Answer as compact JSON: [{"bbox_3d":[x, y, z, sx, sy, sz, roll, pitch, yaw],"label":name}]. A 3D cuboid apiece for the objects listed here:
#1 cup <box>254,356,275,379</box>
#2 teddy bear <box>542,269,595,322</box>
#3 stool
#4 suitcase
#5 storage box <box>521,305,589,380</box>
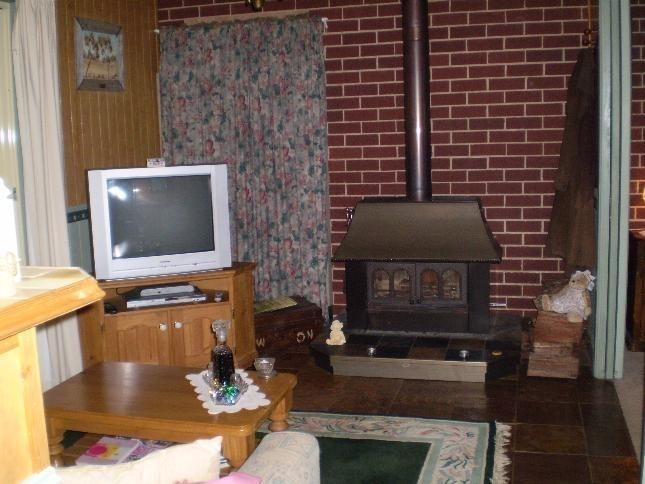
[{"bbox_3d":[-0.304,0.656,2.883,0.105,0.073,0.110,0,-1,0],"label":"cup"},{"bbox_3d":[1.701,0.314,3.825,0.399,0.326,0.506,-2,21,23],"label":"teddy bear"},{"bbox_3d":[-0.275,0.695,4.471,0.414,0.240,0.563,8,11,41],"label":"stool"},{"bbox_3d":[-0.294,0.694,4.460,0.568,0.234,0.387,-7,12,-31],"label":"suitcase"},{"bbox_3d":[1.606,0.707,3.931,0.437,0.447,0.682,2,4,20],"label":"storage box"}]
